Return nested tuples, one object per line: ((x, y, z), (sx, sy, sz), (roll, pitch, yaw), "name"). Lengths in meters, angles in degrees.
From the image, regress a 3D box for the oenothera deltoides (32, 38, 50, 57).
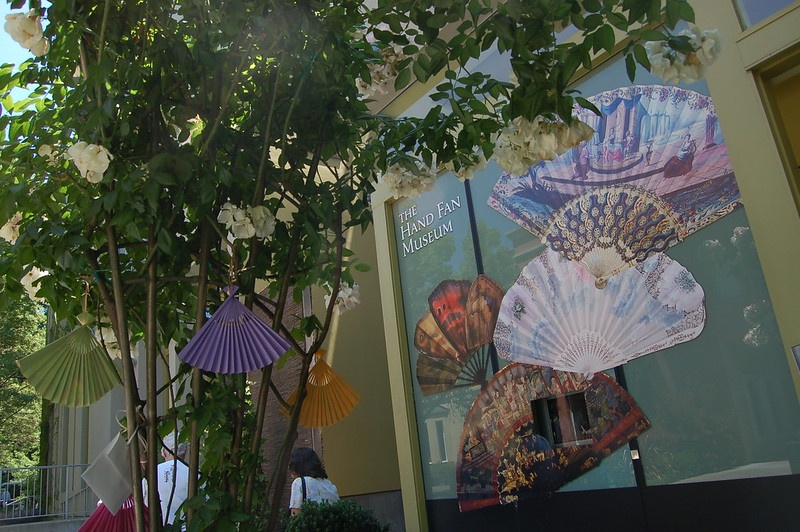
((-0.970, -0.589, 1.617), (0.042, 0.051, 0.043), (7, 10, -8), "oenothera deltoides")

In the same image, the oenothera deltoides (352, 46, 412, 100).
((-0.071, -0.656, 2.069), (0.171, 0.083, 0.176), (-26, -46, 1), "oenothera deltoides")

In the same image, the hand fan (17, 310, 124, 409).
((-0.940, 0.253, 1.769), (0.282, 0.362, 0.032), (13, -50, -31), "hand fan")

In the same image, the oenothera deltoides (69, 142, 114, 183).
((-0.835, -0.279, 1.612), (0.105, 0.099, 0.102), (7, -26, -32), "oenothera deltoides")

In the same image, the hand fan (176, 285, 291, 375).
((-0.435, 0.143, 1.557), (0.268, 0.026, 0.313), (-4, -62, -11), "hand fan")

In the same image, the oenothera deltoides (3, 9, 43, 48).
((-1.013, -0.634, 1.604), (0.097, 0.087, 0.047), (-10, -22, 5), "oenothera deltoides")

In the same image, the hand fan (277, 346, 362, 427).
((-0.276, 0.380, 2.073), (0.272, 0.191, 0.280), (-5, -55, -19), "hand fan")

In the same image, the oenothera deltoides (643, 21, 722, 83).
((0.821, -0.598, 1.755), (0.190, 0.126, 0.188), (-17, -71, -2), "oenothera deltoides")

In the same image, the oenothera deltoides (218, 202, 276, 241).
((-0.414, -0.148, 1.650), (0.112, 0.119, 0.051), (23, -58, 3), "oenothera deltoides")
